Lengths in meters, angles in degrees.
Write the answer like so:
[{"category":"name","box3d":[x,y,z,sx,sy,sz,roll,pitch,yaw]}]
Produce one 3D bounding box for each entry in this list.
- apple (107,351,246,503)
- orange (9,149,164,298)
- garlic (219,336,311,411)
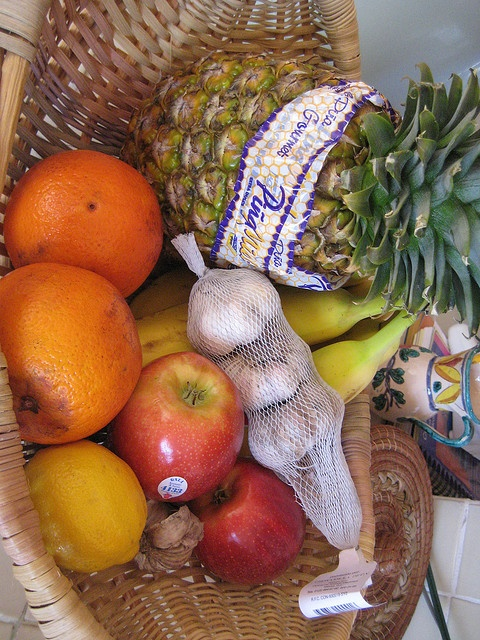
[{"category":"apple","box3d":[-0.046,0.103,0.695,0.179,0.143,0.209,-11,27,-6]},{"category":"orange","box3d":[-0.183,-0.130,0.722,0.197,0.143,0.177,-20,34,-33]},{"category":"garlic","box3d":[0.034,0.062,0.718,0.087,0.103,0.057,-13,68,-10]}]
